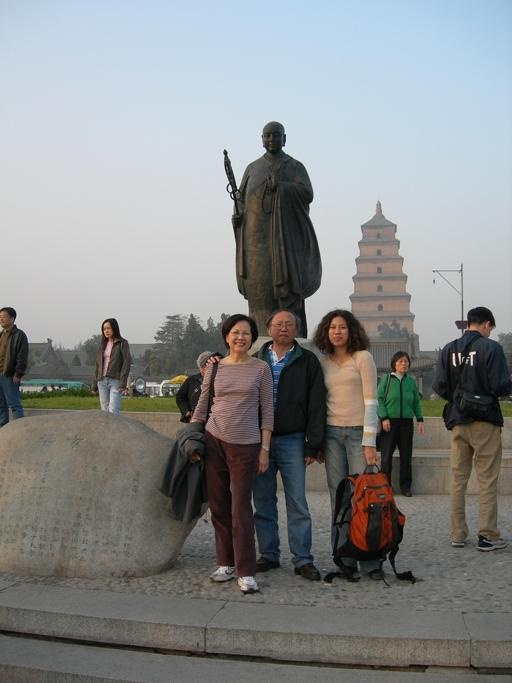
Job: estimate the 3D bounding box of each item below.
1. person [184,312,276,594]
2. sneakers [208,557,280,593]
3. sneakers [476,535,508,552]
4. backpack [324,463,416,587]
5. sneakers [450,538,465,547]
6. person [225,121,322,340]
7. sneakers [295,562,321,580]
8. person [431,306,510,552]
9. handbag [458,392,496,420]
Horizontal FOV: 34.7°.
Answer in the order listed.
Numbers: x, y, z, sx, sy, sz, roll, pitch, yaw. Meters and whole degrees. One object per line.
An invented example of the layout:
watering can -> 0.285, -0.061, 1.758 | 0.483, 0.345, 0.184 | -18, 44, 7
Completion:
person -> -0.143, 0.613, 4.697 | 0.461, 1.530, 0.397 | -2, -2, 28
sneakers -> -0.080, 1.316, 4.601 | 0.330, 0.138, 0.104 | 22, -14, -14
sneakers -> 1.587, 1.359, 5.573 | 0.253, 0.107, 0.090 | 0, -1, -37
backpack -> 0.636, 1.061, 4.730 | 0.503, 0.649, 0.418 | -2, -2, 27
sneakers -> 1.402, 1.388, 5.666 | 0.103, 0.049, 0.153 | -1, -2, 13
person -> 0.208, -1.232, 8.915 | 0.947, 2.235, 0.721 | -1, -2, 4
sneakers -> 0.306, 1.344, 4.799 | 0.102, 0.074, 0.232 | 0, -2, -17
person -> 1.520, 0.584, 5.689 | 0.374, 1.652, 0.669 | 0, -2, -26
handbag -> 1.488, 0.437, 5.549 | 0.296, 0.233, 0.162 | 6, 0, 16
